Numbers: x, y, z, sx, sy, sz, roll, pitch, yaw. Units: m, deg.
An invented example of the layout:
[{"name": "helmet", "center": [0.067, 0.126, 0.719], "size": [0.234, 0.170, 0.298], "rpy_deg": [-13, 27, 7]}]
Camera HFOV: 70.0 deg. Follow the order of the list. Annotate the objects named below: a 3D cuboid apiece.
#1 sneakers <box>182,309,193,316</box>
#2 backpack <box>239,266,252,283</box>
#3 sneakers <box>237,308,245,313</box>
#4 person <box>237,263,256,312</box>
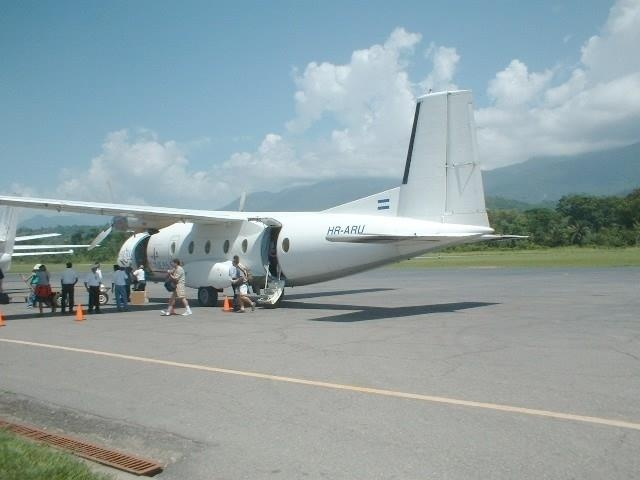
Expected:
[{"name": "sneakers", "center": [-5.143, 2.775, 17.692], "size": [0.198, 0.210, 0.546], "rpy_deg": [2, 0, -41]}, {"name": "backpack", "center": [-3.272, 1.470, 19.929], "size": [0.279, 0.609, 0.476], "rpy_deg": [-7, 1, 1]}, {"name": "sneakers", "center": [-3.144, 2.796, 18.299], "size": [0.357, 0.204, 0.119], "rpy_deg": [1, 0, 23]}, {"name": "person", "center": [-3.119, 1.935, 19.238], "size": [1.157, 2.099, 0.730], "rpy_deg": [9, -50, -11]}]
